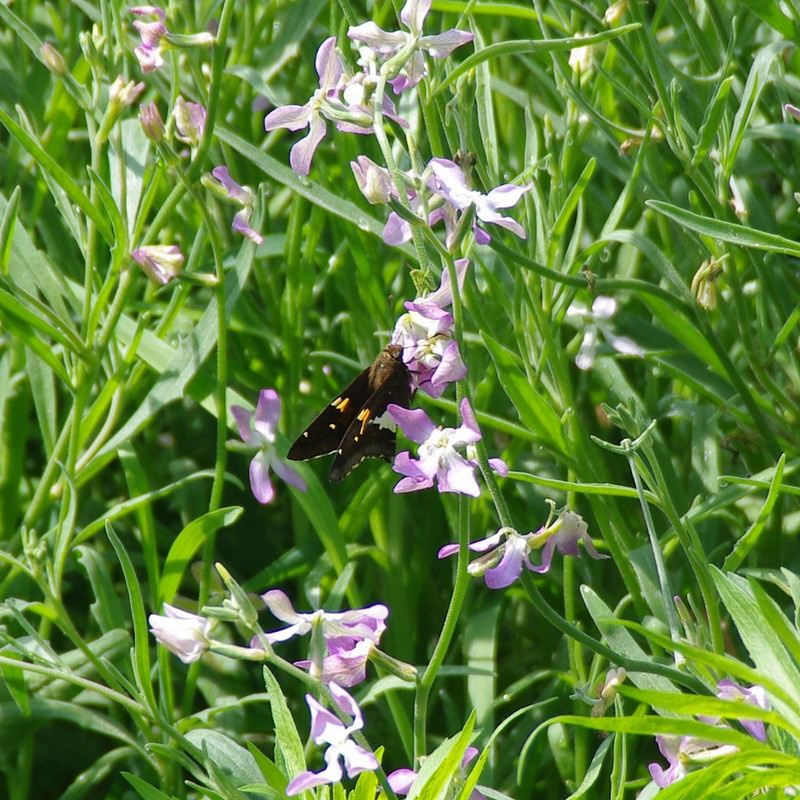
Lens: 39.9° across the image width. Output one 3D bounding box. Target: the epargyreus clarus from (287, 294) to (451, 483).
[{"bbox_3d":[-0.028,0.030,1.300,0.223,0.152,0.153,34,55,-44],"label":"epargyreus clarus"}]
